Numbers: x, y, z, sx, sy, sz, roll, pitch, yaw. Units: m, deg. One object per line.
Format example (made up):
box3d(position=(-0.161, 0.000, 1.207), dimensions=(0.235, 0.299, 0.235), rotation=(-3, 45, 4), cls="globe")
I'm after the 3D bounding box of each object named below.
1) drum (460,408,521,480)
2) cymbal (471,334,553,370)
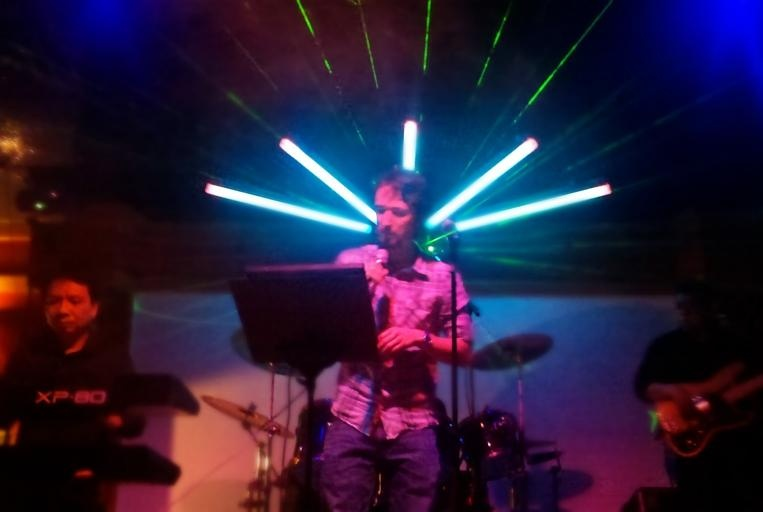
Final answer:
box3d(position=(1.048, 1.867, 5.724), dimensions=(0.625, 0.557, 0.752), rotation=(-4, -4, 10), cls="drum")
box3d(position=(1.360, 0.988, 6.230), dimensions=(1.063, 0.329, 0.490), rotation=(19, -31, -39), cls="cymbal")
